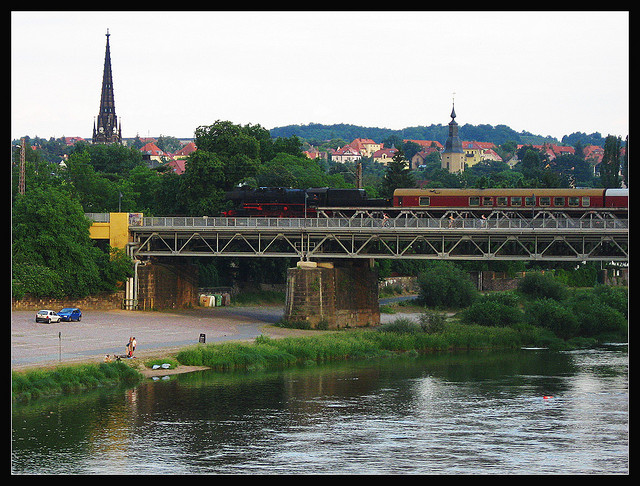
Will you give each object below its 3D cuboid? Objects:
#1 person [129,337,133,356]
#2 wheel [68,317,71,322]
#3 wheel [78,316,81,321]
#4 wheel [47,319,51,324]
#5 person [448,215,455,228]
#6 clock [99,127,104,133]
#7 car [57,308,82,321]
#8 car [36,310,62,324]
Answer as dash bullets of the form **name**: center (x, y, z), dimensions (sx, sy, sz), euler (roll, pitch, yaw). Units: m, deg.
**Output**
- **person**: center (-14.508, 8.158, 120.056), dimensions (0.247, 1.348, 0.799), euler (0, -4, -6)
- **wheel**: center (-21.595, 6.725, 134.549), dimensions (0.074, 0.324, 0.320), euler (8, -9, 6)
- **wheel**: center (-20.845, 6.686, 135.421), dimensions (0.175, 0.483, 0.469), euler (1, 5, 32)
- **wheel**: center (-23.026, 6.799, 132.441), dimensions (0.354, 0.363, 0.085), euler (1, 0, -24)
- **person**: center (11.592, -1.598, 136.291), dimensions (0.502, 0.816, 0.519), euler (-1, -4, 5)
- **clock**: center (-40.976, -21.011, 292.799), dimensions (1.096, 1.149, 0.259), euler (3, -1, -1)
- **car**: center (-21.604, 6.321, 134.858), dimensions (1.500, 0.782, 1.004), euler (6, 3, 1)
- **car**: center (-23.100, 6.465, 132.952), dimensions (0.930, 1.079, 2.290), euler (-3, -5, 32)
